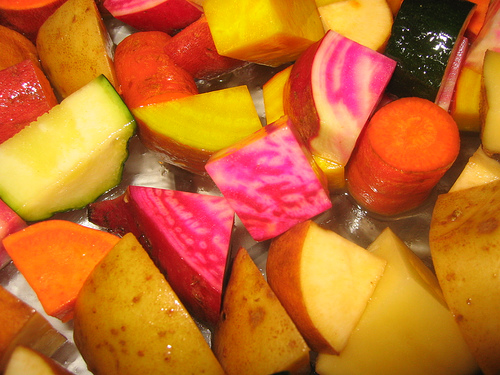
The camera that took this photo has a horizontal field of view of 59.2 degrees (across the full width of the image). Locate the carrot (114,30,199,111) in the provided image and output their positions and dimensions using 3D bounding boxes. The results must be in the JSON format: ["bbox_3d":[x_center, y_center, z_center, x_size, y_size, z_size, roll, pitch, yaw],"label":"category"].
[{"bbox_3d":[-0.190,-0.213,0.897,0.152,0.086,0.163,-19,71,7],"label":"carrot"}]

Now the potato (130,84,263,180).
[{"bbox_3d":[-0.098,-0.097,0.843,0.236,0.117,0.110,-12,52,-8],"label":"potato"}]

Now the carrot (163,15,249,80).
[{"bbox_3d":[-0.096,-0.267,0.880,0.117,0.116,0.050,-17,46,17],"label":"carrot"}]

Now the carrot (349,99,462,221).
[{"bbox_3d":[0.279,-0.054,0.829,0.152,0.184,0.173,3,63,2],"label":"carrot"}]

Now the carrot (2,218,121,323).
[{"bbox_3d":[-0.348,0.134,0.832,0.164,0.119,0.165,33,59,24],"label":"carrot"}]
